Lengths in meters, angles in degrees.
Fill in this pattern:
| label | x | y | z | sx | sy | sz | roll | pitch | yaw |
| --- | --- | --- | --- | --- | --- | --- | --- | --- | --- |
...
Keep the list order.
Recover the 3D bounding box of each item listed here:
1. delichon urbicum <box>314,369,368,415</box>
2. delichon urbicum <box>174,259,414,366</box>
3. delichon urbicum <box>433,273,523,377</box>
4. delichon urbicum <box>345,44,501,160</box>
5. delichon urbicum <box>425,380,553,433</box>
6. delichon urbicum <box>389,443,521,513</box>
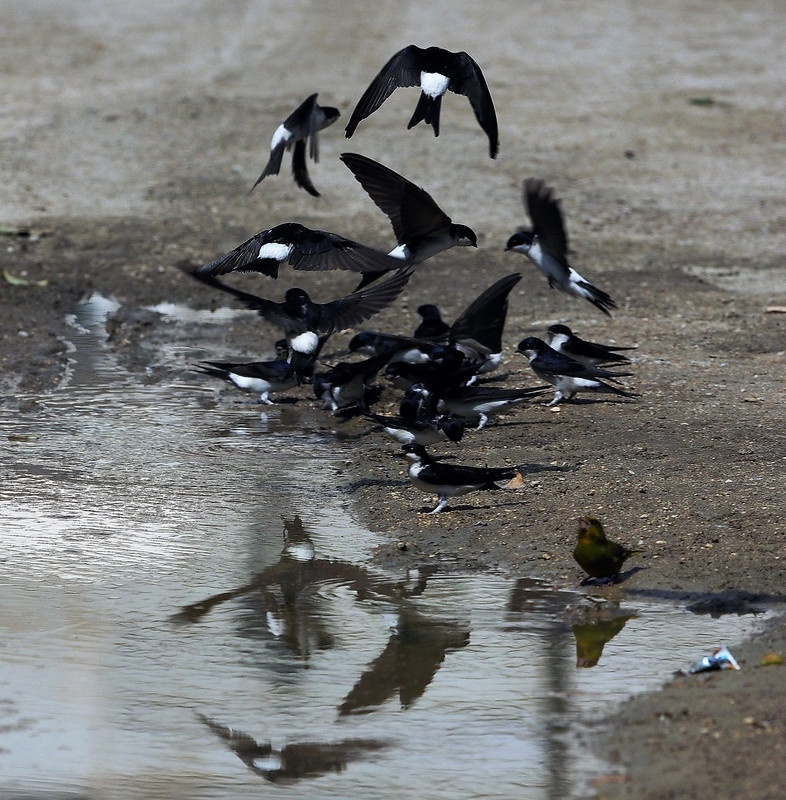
| label | x | y | z | sx | sy | sz | roll | pitch | yaw |
| --- | --- | --- | --- | --- | --- | --- | --- | --- | --- |
| delichon urbicum | -0.447 | -0.071 | 11.359 | 0.254 | 0.592 | 0.242 | -9 | 56 | -15 |
| delichon urbicum | -0.551 | -0.651 | 10.692 | 1.934 | 0.995 | 0.536 | 2 | 103 | -16 |
| delichon urbicum | 0.672 | -0.538 | 11.115 | 0.505 | 1.898 | 0.346 | 14 | 66 | 0 |
| delichon urbicum | 0.358 | -2.279 | 10.670 | 1.411 | 0.816 | 0.396 | 32 | 26 | 31 |
| delichon urbicum | 0.571 | 0.038 | 10.617 | 1.182 | 0.294 | 0.304 | -8 | 78 | 13 |
| delichon urbicum | 0.392 | 0.494 | 9.043 | 0.877 | 0.273 | 0.340 | 2 | 92 | -24 |
